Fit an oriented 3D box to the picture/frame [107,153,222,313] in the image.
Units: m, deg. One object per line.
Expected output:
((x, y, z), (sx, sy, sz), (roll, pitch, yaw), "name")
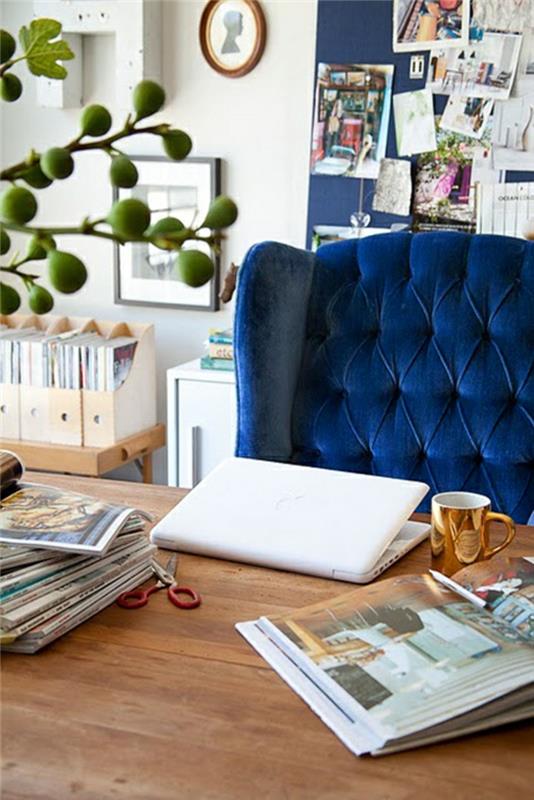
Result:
((-0.411, -0.684, 2.666), (0.442, 0.588, 0.039), (6, 11, 17), "picture/frame")

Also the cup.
((0.241, 0.162, 0.770), (0.092, 0.087, 0.057), (5, 11, 33), "cup")

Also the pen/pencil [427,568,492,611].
((0.199, 0.196, 0.695), (0.013, 0.013, 0.093), (-12, 16, -20), "pen/pencil")
